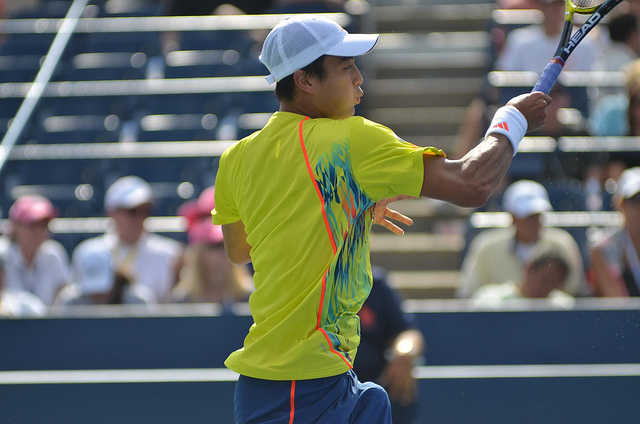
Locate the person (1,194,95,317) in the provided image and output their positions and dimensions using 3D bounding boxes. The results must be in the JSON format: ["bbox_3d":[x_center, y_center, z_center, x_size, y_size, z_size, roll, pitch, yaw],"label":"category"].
[{"bbox_3d":[-2.734,0.508,12.899,0.747,0.530,1.613,-15,37,-14],"label":"person"}]
